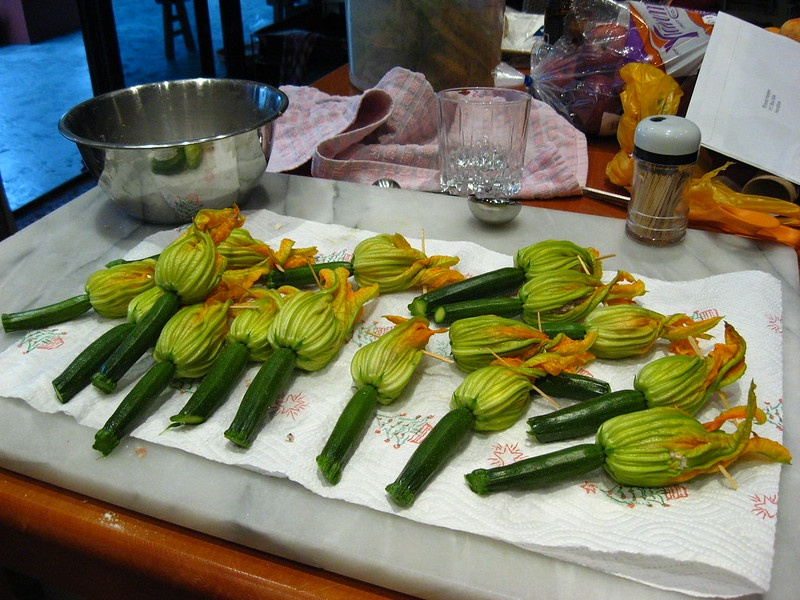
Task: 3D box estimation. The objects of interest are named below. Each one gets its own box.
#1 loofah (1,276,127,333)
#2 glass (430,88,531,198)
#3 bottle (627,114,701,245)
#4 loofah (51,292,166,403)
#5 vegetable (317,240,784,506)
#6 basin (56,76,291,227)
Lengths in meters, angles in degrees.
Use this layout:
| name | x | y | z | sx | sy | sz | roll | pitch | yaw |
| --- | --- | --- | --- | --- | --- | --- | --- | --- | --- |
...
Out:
| name | x | y | z | sx | sy | sz | roll | pitch | yaw |
| --- | --- | --- | --- | --- | --- | --- | --- | --- | --- |
| loofah | -0.433 | 0.009 | 0.774 | 0.161 | 0.053 | 0.034 | -16 | 5 | -23 |
| glass | 0.148 | -0.288 | 1.120 | 0.177 | 0.186 | 0.188 | -10 | 21 | -31 |
| bottle | 0.399 | -0.175 | 0.901 | 0.102 | 0.168 | 0.099 | -3 | 27 | 2 |
| loofah | -0.326 | 0.053 | 0.753 | 0.055 | 0.049 | 0.200 | 1 | 41 | 40 |
| vegetable | 0.140 | 0.086 | 0.653 | 0.301 | 0.072 | 0.269 | -15 | 31 | -23 |
| basin | -0.355 | -0.291 | 1.090 | 0.271 | 0.124 | 0.278 | -5 | 5 | 0 |
